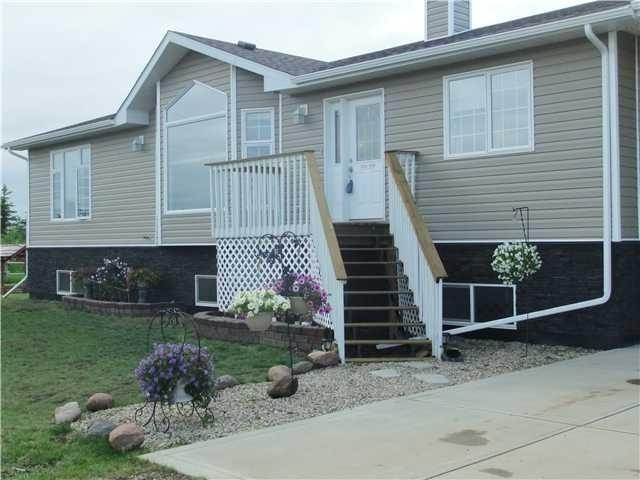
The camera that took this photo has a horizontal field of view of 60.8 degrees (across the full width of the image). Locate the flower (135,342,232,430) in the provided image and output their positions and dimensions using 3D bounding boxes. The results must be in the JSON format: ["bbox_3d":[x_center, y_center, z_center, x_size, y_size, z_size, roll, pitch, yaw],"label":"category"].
[{"bbox_3d":[-1.571,1.492,5.806,0.752,0.825,0.825,-3,1,-39],"label":"flower"}]

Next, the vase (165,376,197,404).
[{"bbox_3d":[-1.424,1.525,5.574,0.265,0.245,0.248,-1,-6,-1],"label":"vase"}]

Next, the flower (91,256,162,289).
[{"bbox_3d":[-5.059,0.739,13.820,1.035,0.572,1.316,-5,-6,-1],"label":"flower"}]

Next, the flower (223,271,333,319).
[{"bbox_3d":[-0.617,0.912,8.666,1.178,0.560,0.879,-4,-1,-13],"label":"flower"}]

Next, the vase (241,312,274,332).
[{"bbox_3d":[-0.996,1.313,8.834,0.380,0.215,0.355,-1,-9,-1],"label":"vase"}]

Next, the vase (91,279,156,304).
[{"bbox_3d":[-4.988,1.293,13.644,2.057,0.506,0.596,-2,1,24],"label":"vase"}]

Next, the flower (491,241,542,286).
[{"bbox_3d":[3.253,0.351,8.986,0.913,0.598,0.884,-3,-4,20],"label":"flower"}]
